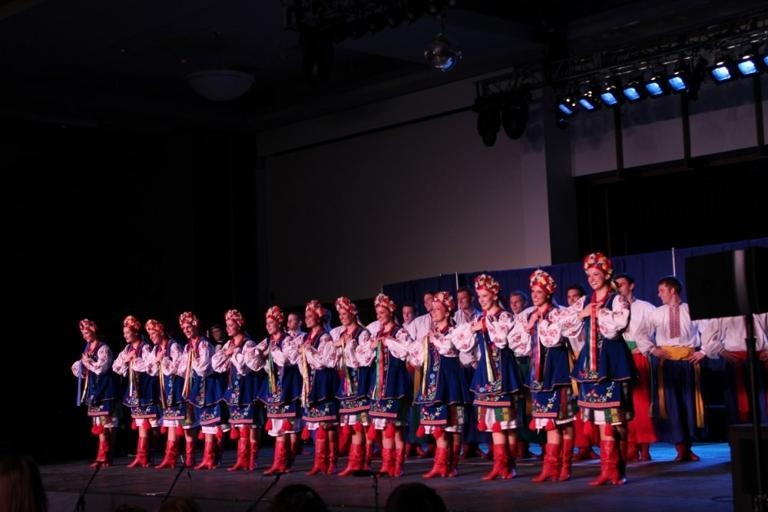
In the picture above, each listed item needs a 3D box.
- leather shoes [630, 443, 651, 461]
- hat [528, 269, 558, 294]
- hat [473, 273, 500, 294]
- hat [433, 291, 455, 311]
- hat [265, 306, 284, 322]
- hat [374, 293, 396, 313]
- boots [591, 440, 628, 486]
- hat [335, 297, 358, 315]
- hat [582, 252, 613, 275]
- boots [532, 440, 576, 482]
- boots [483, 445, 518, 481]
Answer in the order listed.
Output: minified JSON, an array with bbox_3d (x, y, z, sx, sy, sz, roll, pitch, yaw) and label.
[{"bbox_3d":[2.929,2.222,8.654,0.215,0.188,0.415,-8,-10,28],"label":"leather shoes"},{"bbox_3d":[1.592,0.264,7.599,0.200,0.280,0.265,-6,-9,18],"label":"hat"},{"bbox_3d":[1.060,0.288,7.828,0.248,0.238,0.213,-9,-10,33],"label":"hat"},{"bbox_3d":[0.648,0.490,8.141,0.258,0.219,0.176,1,-10,-28],"label":"hat"},{"bbox_3d":[-1.337,0.687,9.170,0.189,0.228,0.241,3,9,9],"label":"hat"},{"bbox_3d":[0.020,0.534,8.644,0.196,0.237,0.507,-4,-9,3],"label":"hat"},{"bbox_3d":[2.073,1.919,7.088,0.305,0.405,0.180,-6,-9,16],"label":"boots"},{"bbox_3d":[-0.410,0.576,8.719,0.161,0.202,0.308,-8,-10,29],"label":"hat"},{"bbox_3d":[2.025,0.078,7.207,0.241,0.243,0.222,-5,-9,8],"label":"hat"},{"bbox_3d":[1.668,2.006,7.490,0.403,0.385,0.259,-5,-9,9],"label":"boots"},{"bbox_3d":[1.170,2.091,7.764,0.340,0.346,0.284,-4,-9,4],"label":"boots"}]
